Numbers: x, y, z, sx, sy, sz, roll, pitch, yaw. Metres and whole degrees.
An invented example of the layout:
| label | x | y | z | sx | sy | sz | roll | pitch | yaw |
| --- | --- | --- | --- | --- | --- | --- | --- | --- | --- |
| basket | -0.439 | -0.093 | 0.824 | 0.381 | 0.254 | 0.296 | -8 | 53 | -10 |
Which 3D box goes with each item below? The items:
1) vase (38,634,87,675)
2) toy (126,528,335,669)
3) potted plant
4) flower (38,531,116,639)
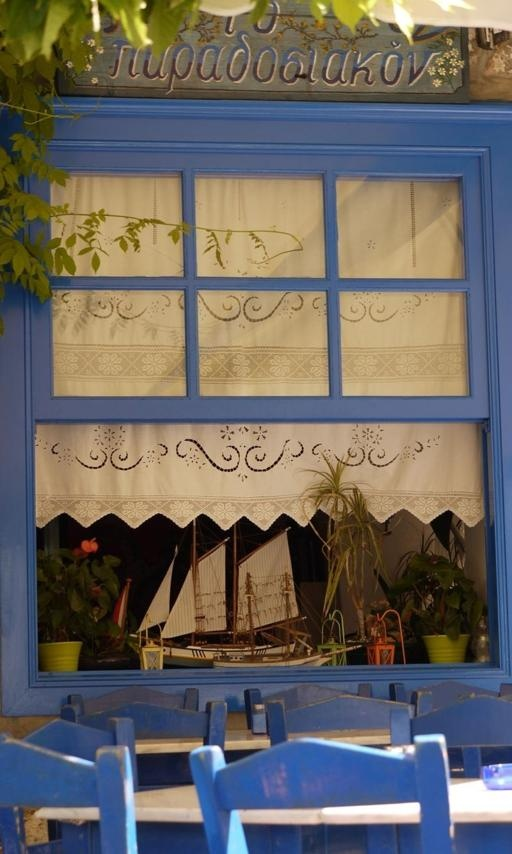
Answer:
| label | x | y | z | sx | sy | sz | roll | pitch | yaw |
| --- | --- | --- | --- | --- | --- | --- | --- | --- | --- |
| vase | -0.558 | 0.647 | 3.237 | 0.107 | 0.068 | 0.106 | 4 | -14 | -7 |
| toy | -0.103 | 0.633 | 4.281 | 0.663 | 0.502 | 1.106 | -1 | -10 | -6 |
| potted plant | 0.578 | 0.548 | 3.502 | 0.265 | 0.364 | 0.230 | 0 | -18 | 4 |
| flower | -0.575 | 0.523 | 3.683 | 0.219 | 0.339 | 0.587 | -2 | -10 | 0 |
